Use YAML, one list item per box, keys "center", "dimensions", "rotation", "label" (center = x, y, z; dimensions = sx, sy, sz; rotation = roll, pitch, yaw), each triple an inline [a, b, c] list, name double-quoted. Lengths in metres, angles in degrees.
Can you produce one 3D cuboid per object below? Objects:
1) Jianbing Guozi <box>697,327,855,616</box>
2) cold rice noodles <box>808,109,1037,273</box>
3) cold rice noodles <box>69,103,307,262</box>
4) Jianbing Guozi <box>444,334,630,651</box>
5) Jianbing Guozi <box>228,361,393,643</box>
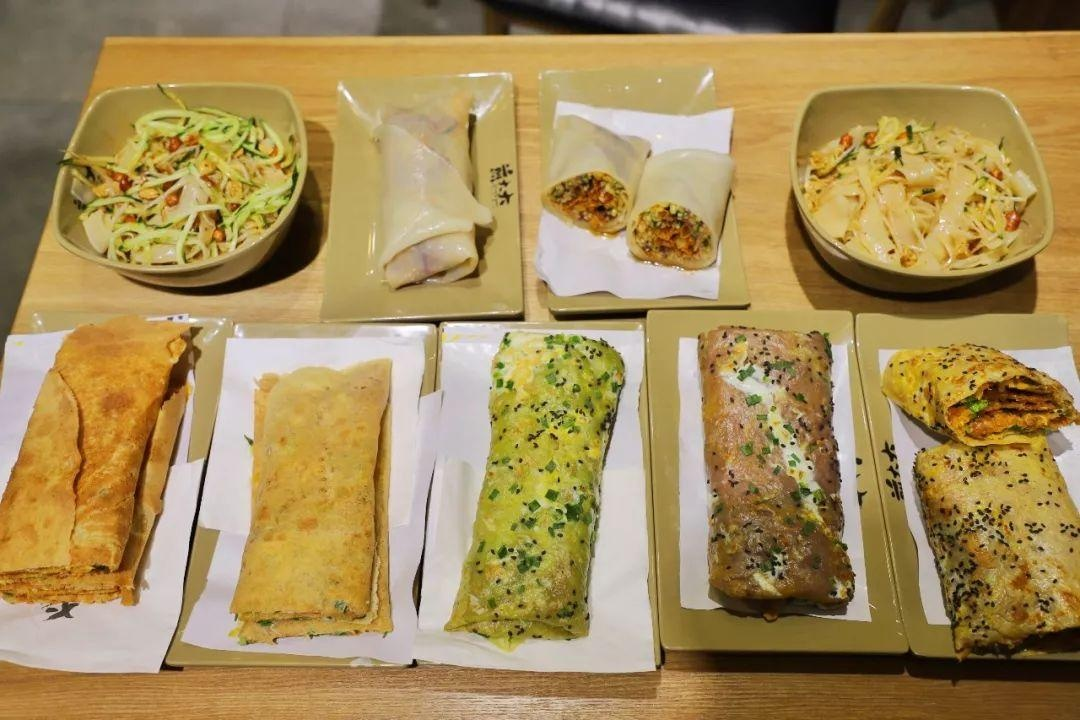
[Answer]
- center: [0.897, 0.402, 3.218]
  dimensions: [0.525, 0.296, 1.043]
  rotation: [0, 74, 4]
  label: "Jianbing Guozi"
- center: [1.613, -0.635, 3.683]
  dimensions: [0.728, 0.252, 0.754]
  rotation: [22, 67, 15]
  label: "cold rice noodles"
- center: [-1.533, -0.660, 3.778]
  dimensions: [0.763, 0.311, 0.796]
  rotation: [15, 65, 11]
  label: "cold rice noodles"
- center: [0.002, 0.513, 3.350]
  dimensions: [0.566, 0.351, 1.246]
  rotation: [4, 59, 9]
  label: "Jianbing Guozi"
- center: [-0.878, 0.513, 3.331]
  dimensions: [0.618, 0.238, 1.081]
  rotation: [4, 62, -8]
  label: "Jianbing Guozi"
